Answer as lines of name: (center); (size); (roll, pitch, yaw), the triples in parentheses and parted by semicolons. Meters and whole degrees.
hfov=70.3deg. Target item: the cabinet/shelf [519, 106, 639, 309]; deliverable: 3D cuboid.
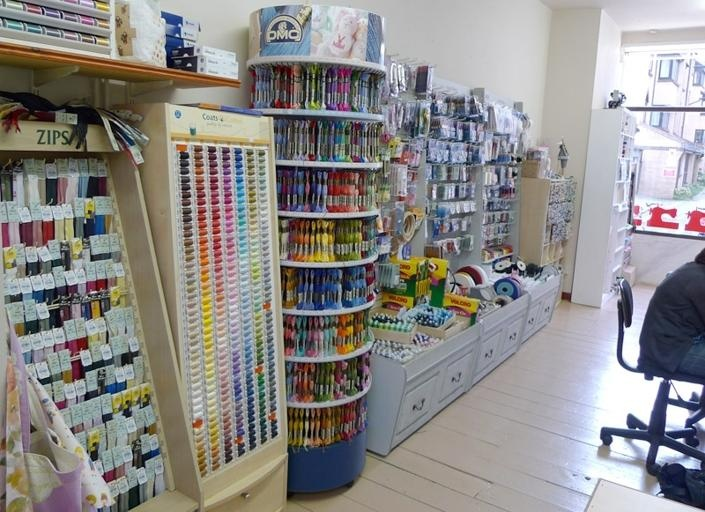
cabinet/shelf: (3.919, -0.760, 7.707); (1.585, 2.868, 0.573); (-9, 15, -40)
